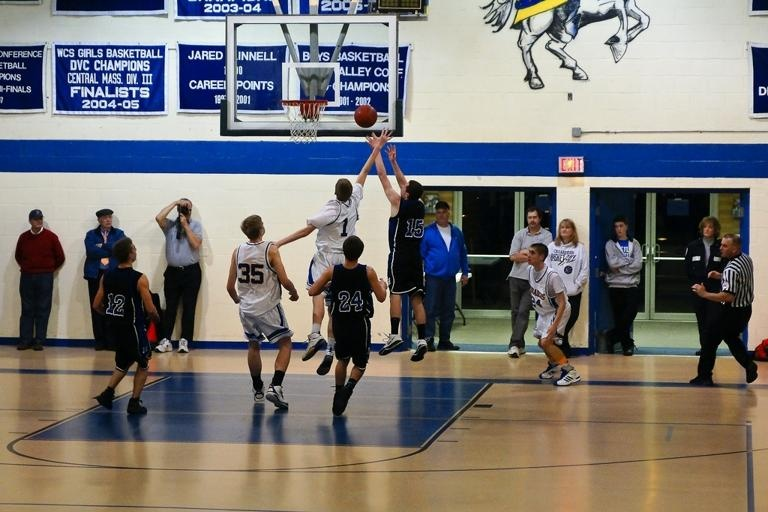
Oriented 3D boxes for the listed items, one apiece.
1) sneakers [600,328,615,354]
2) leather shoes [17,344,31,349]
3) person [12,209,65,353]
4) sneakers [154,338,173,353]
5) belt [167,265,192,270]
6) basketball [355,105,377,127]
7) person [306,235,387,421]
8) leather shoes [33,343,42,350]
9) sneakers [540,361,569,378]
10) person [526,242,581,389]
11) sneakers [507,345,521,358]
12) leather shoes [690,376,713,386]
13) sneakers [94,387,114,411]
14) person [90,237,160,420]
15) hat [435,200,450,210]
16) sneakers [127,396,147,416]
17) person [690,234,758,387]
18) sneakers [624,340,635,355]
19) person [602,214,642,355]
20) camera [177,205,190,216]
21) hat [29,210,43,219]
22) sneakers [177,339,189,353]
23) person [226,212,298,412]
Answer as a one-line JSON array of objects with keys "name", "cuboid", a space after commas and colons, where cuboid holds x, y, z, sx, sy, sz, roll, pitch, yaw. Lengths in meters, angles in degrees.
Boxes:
[{"name": "sneakers", "cuboid": [3.785, 1.454, 15.111, 0.168, 0.482, 0.190, -1, -5, 24]}, {"name": "leather shoes", "cuboid": [-6.118, 1.546, 15.100, 0.213, 0.093, 0.076, 4, 4, -10]}, {"name": "person", "cuboid": [-5.886, 0.488, 15.166, 0.725, 2.172, 0.327, -1, 5, -20]}, {"name": "sneakers", "cuboid": [-3.752, 1.516, 15.029, 0.313, 0.184, 0.146, 0, 0, 22]}, {"name": "belt", "cuboid": [-3.454, 0.187, 15.082, 0.428, 0.094, 0.119, 0, 5, -10]}, {"name": "basketball", "cuboid": [-0.271, -2.013, 12.773, 0.280, 0.315, 0.345, 1, 5, -2]}, {"name": "person", "cuboid": [-0.432, 0.901, 11.108, 0.855, 2.315, 0.461, 1, 4, 0]}, {"name": "leather shoes", "cuboid": [-5.891, 1.532, 15.130, 0.168, 0.115, 0.175, -1, 5, -21]}, {"name": "sneakers", "cuboid": [2.508, 1.694, 13.219, 0.446, 0.206, 0.153, -9, 8, 3]}, {"name": "person", "cuboid": [2.479, 0.829, 12.882, 0.764, 2.044, 0.896, 2, 4, 12]}, {"name": "sneakers", "cuboid": [2.184, 1.569, 14.822, 0.221, 0.169, 0.344, 2, 5, 16]}, {"name": "leather shoes", "cuboid": [4.586, 1.816, 12.843, 0.349, 0.153, 0.130, 5, 2, 8]}, {"name": "sneakers", "cuboid": [-3.565, 1.815, 11.415, 0.146, 0.275, 0.402, 43, 3, -25]}, {"name": "person", "cuboid": [-3.300, 0.905, 11.326, 0.758, 2.258, 0.735, -1, 5, -19]}, {"name": "hat", "cuboid": [0.984, -0.861, 15.109, 0.147, 0.162, 0.199, 2, 9, 9]}, {"name": "sneakers", "cuboid": [-3.197, 1.932, 11.477, 0.310, 0.302, 0.154, -1, 7, -11]}, {"name": "person", "cuboid": [4.827, 0.786, 12.555, 0.880, 2.177, 0.723, 3, 5, 20]}, {"name": "sneakers", "cuboid": [4.135, 1.530, 15.023, 0.168, 0.250, 0.325, 2, 5, 19]}, {"name": "person", "cuboid": [4.026, 0.500, 15.024, 0.607, 2.295, 0.399, 2, 5, 19]}, {"name": "camera", "cuboid": [-3.374, -0.774, 14.973, 0.153, 0.143, 0.181, 12, 45, 17]}, {"name": "hat", "cuboid": [-5.918, -0.705, 15.101, 0.215, 0.174, 0.340, -1, 5, -21]}, {"name": "sneakers", "cuboid": [-3.391, 1.523, 14.982, 0.110, 0.129, 0.280, 0, 7, -5]}, {"name": "person", "cuboid": [-1.600, 0.740, 11.620, 0.872, 2.532, 0.892, 0, 4, -11]}]
